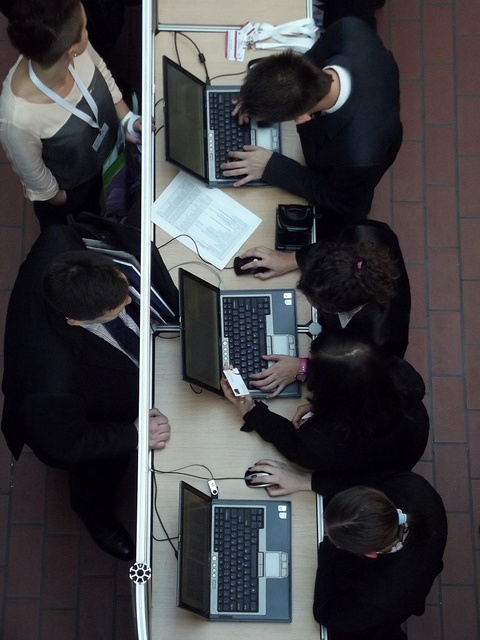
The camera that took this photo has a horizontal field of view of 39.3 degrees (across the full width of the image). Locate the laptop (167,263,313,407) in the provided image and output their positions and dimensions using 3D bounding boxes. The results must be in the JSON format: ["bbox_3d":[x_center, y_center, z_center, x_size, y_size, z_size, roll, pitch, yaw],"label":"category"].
[{"bbox_3d":[0.013,0.042,2.213,0.433,0.282,0.396,6,75,-4],"label":"laptop"}]

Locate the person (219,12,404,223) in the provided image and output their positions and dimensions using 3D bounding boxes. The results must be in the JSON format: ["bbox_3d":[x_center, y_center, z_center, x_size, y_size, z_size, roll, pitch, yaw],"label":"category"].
[{"bbox_3d":[0.311,-0.693,2.786,0.593,1.243,0.614,13,76,5],"label":"person"}]

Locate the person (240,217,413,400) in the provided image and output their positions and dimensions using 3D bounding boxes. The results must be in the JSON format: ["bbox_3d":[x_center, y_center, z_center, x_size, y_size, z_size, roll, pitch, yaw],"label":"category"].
[{"bbox_3d":[0.409,0.032,2.579,0.598,1.158,0.536,5,67,16],"label":"person"}]

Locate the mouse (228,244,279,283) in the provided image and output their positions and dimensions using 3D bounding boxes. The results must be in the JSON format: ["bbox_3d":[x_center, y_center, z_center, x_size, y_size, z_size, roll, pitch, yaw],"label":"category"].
[{"bbox_3d":[0.037,-0.202,2.412,0.144,0.038,0.078,-13,81,1],"label":"mouse"}]

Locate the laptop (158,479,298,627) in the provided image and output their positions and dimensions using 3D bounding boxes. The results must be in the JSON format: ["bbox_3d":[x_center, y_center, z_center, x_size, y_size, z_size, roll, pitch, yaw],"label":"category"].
[{"bbox_3d":[-0.001,0.711,2.031,0.436,0.226,0.421,-9,66,-11],"label":"laptop"}]

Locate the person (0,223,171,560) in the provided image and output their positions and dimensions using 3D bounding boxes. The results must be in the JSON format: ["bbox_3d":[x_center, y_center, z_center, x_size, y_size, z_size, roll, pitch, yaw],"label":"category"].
[{"bbox_3d":[-0.497,0.262,2.238,0.488,1.331,0.561,-4,80,0],"label":"person"}]

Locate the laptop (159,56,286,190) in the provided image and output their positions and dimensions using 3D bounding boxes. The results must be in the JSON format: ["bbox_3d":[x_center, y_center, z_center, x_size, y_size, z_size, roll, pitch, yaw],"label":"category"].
[{"bbox_3d":[-0.124,-0.775,2.390,0.326,0.171,0.325,-1,36,-36],"label":"laptop"}]

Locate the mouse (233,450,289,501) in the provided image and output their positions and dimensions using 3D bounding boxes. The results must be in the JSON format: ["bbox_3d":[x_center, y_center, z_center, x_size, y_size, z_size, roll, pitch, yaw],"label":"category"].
[{"bbox_3d":[0.075,0.512,2.193,0.150,0.050,0.090,1,65,-12],"label":"mouse"}]
